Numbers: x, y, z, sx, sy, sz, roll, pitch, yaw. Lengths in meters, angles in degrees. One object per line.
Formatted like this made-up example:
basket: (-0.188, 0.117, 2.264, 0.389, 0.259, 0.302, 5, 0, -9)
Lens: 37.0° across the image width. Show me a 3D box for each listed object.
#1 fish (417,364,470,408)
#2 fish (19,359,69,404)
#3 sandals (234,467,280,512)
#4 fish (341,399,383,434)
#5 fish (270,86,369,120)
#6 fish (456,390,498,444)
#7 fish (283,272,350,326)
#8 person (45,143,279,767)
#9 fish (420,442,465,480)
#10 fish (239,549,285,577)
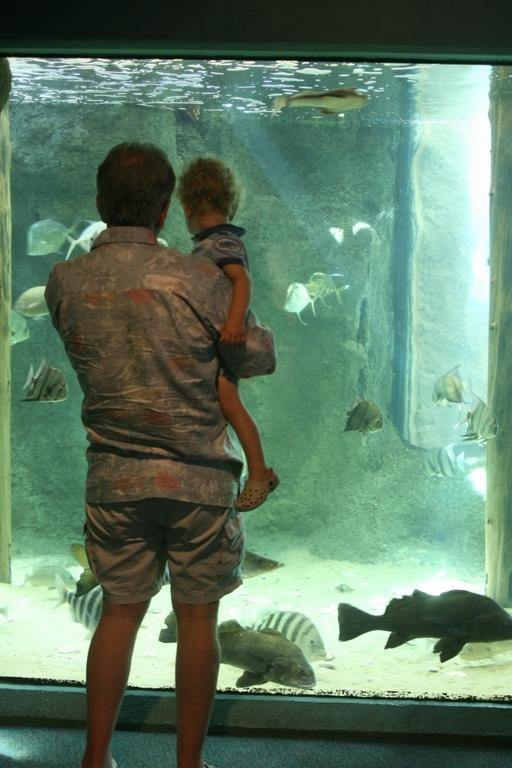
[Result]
fish: (1.201, 0.014, 4.707, 0.212, 0.254, 0.192, 3, 4, 11)
fish: (-1.133, 0.008, 4.060, 0.255, 0.227, 0.094, 30, -15, -31)
sandals: (0.003, 0.348, 2.500, 0.085, 0.074, 0.193, -2, 33, 39)
fish: (0.653, 0.197, 4.579, 0.204, 0.199, 0.258, 2, 4, 8)
fish: (0.399, -1.735, 4.676, 0.580, 0.033, 0.525, 1, 3, -4)
fish: (1.264, 0.183, 4.312, 0.155, 0.262, 0.134, 17, -7, -27)
fish: (0.386, -0.589, 5.130, 0.477, 0.317, 0.114, 4, 4, 36)
person: (-0.297, 0.234, 2.356, 0.694, 1.930, 0.287, 1, 4, -14)
fish: (1.176, 0.473, 4.660, 0.109, 0.227, 0.357, 1, 4, -20)
fish: (0.009, 0.895, 3.742, 0.244, 0.126, 0.085, 13, -16, -30)
